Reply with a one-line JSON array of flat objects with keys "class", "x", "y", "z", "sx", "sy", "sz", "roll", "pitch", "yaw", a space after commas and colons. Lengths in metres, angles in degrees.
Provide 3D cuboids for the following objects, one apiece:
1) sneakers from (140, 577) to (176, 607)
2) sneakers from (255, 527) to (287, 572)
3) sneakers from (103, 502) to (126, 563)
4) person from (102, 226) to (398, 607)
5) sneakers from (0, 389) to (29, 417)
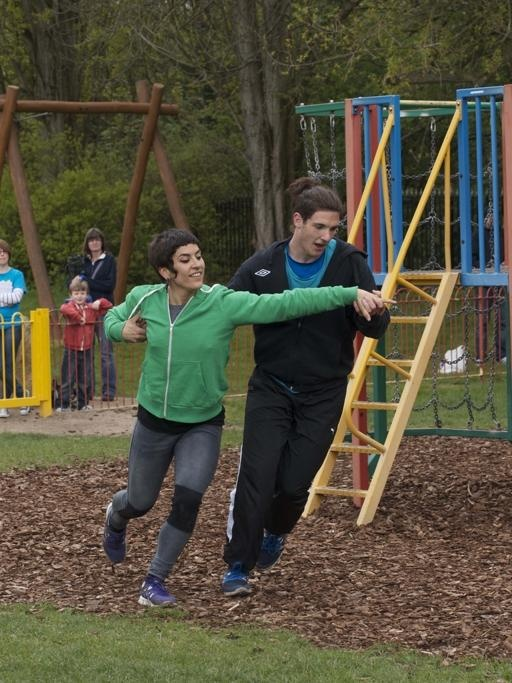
[{"class": "sneakers", "x": -0.465, "y": 1.175, "z": 5.248, "sx": 0.196, "sy": 0.099, "sz": 0.094, "roll": 3, "pitch": 3, "yaw": 44}, {"class": "sneakers", "x": 0.088, "y": 1.023, "z": 5.615, "sx": 0.092, "sy": 0.111, "sz": 0.264, "roll": 22, "pitch": 37, "yaw": 13}, {"class": "sneakers", "x": -0.709, "y": 0.989, "z": 5.665, "sx": 0.116, "sy": 0.332, "sz": 0.149, "roll": -9, "pitch": 19, "yaw": -27}, {"class": "person", "x": -0.257, "y": 0.361, "z": 5.152, "sx": 1.341, "sy": 1.746, "sz": 0.417, "roll": 3, "pitch": 7, "yaw": 38}, {"class": "sneakers", "x": -2.322, "y": 0.592, "z": 10.766, "sx": 0.218, "sy": 0.265, "sz": 0.641, "roll": 0, "pitch": -7, "yaw": -3}]
